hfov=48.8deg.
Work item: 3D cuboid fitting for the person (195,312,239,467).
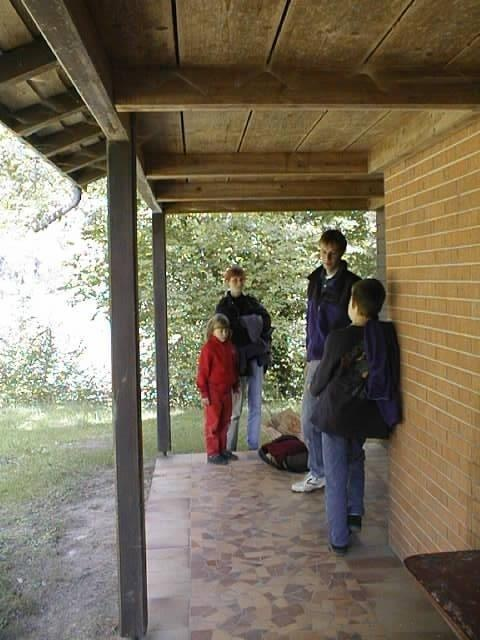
[{"bbox_3d":[-0.198,0.599,4.658,0.337,1.221,0.234,-2,1,-5],"label":"person"}]

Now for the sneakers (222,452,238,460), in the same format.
[{"bbox_3d":[-0.088,1.197,4.702,0.109,0.050,0.059,-2,0,30],"label":"sneakers"}]

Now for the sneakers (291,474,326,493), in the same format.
[{"bbox_3d":[0.492,1.191,3.896,0.299,0.140,0.123,3,-7,-23],"label":"sneakers"}]

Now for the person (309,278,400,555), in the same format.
[{"bbox_3d":[0.635,0.529,2.899,0.487,1.247,0.384,-2,1,15],"label":"person"}]

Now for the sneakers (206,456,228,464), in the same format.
[{"bbox_3d":[-0.201,1.219,4.620,0.145,0.068,0.071,-2,-1,18],"label":"sneakers"}]
